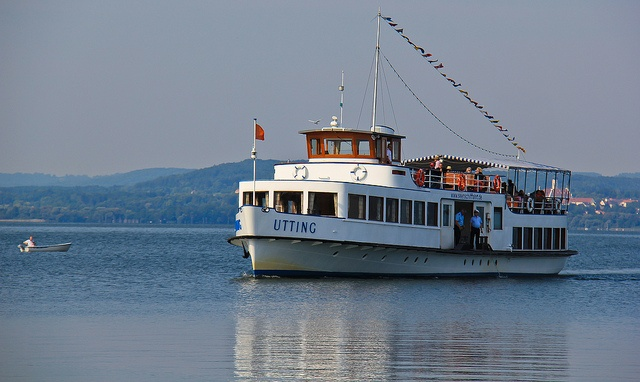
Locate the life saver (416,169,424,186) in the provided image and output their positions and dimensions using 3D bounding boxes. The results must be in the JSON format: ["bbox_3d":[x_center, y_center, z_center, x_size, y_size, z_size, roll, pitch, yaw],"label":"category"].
[{"bbox_3d":[9.798,-1.113,127.876,1.123,1.410,0.647,3,-4,-40],"label":"life saver"}]

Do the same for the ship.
[{"bbox_3d":[8.516,-2.316,135.223,42.073,21.593,15.802,4,-4,-40],"label":"ship"}]
